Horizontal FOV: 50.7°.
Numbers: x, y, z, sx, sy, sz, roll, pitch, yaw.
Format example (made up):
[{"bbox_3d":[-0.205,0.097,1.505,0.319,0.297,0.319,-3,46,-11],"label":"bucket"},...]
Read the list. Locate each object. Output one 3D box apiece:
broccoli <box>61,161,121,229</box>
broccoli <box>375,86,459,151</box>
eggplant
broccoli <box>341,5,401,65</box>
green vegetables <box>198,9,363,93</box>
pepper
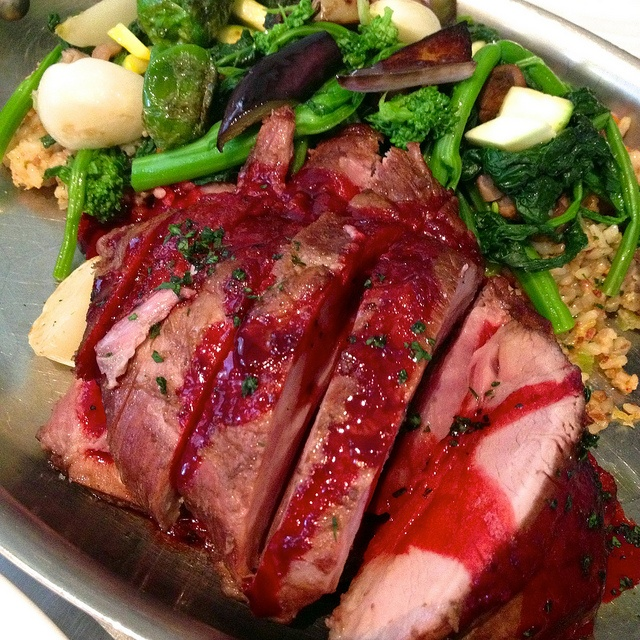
[{"bbox_3d":[-0.840,-0.495,2.585,0.165,0.231,0.179,22,35,34],"label":"broccoli"},{"bbox_3d":[0.323,-0.718,2.398,0.274,0.172,0.162,-14,55,-17],"label":"broccoli"},{"bbox_3d":[-0.146,-0.794,2.330,0.147,0.224,0.544,37,57,22],"label":"eggplant"},{"bbox_3d":[0.180,-1.035,2.471,0.201,0.197,0.212,6,30,11],"label":"broccoli"},{"bbox_3d":[-0.147,-1.059,2.534,0.519,0.144,0.304,-34,67,3],"label":"green vegetables"},{"bbox_3d":[-0.512,-0.815,2.512,0.260,0.341,0.261,-13,32,-20],"label":"pepper"}]
